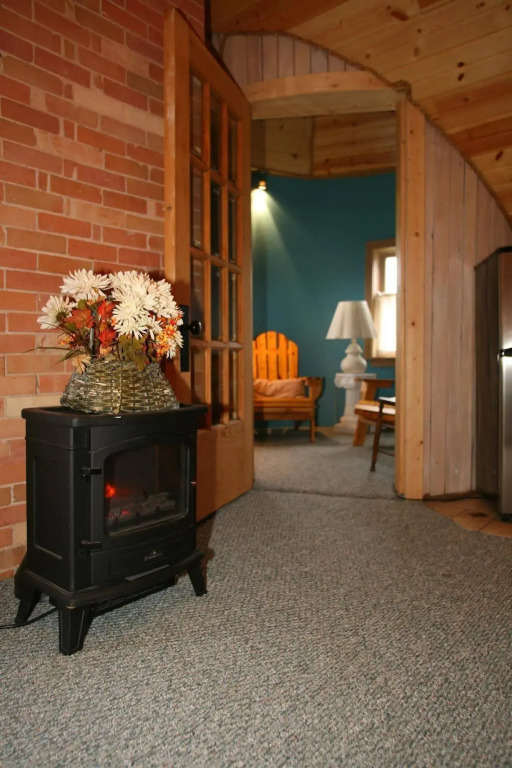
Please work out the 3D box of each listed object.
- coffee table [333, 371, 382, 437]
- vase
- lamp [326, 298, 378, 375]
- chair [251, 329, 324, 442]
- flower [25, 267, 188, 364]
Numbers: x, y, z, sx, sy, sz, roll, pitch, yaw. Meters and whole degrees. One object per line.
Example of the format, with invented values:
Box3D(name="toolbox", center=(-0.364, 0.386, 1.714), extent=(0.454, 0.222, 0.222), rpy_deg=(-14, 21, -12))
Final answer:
Box3D(name="coffee table", center=(0.929, 0.167, 5.335), extent=(0.391, 0.537, 0.379), rpy_deg=(1, 4, 21))
Box3D(name="vase", center=(-0.389, -0.003, 1.484), extent=(0.316, 0.149, 0.331), rpy_deg=(4, 11, 23))
Box3D(name="lamp", center=(0.910, -0.421, 5.188), extent=(0.471, 0.701, 0.410), rpy_deg=(-2, 0, -24))
Box3D(name="chair", center=(0.196, 0.005, 5.046), extent=(0.728, 0.884, 0.673), rpy_deg=(0, 2, -15))
Box3D(name="flower", center=(-0.380, -0.173, 1.426), extent=(0.294, 0.268, 0.301), rpy_deg=(5, 4, 34))
